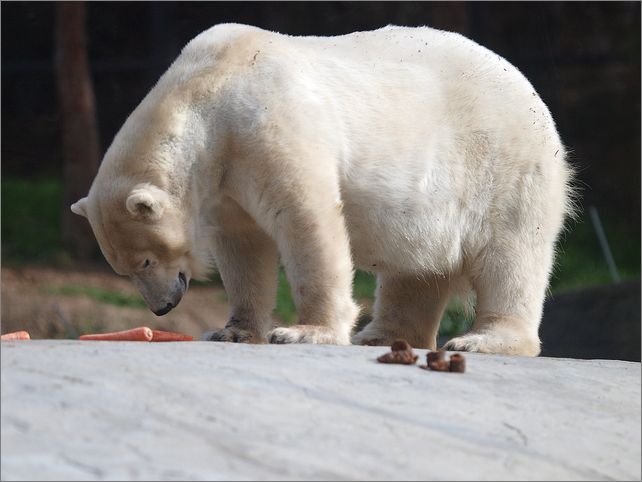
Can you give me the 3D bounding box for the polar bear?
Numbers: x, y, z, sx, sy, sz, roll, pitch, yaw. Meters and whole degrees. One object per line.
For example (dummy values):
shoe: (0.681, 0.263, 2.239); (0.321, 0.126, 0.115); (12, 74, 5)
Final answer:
polar bear: (0.072, -0.275, 7.939); (3.219, 2.199, 1.559); (2, -7, -9)
